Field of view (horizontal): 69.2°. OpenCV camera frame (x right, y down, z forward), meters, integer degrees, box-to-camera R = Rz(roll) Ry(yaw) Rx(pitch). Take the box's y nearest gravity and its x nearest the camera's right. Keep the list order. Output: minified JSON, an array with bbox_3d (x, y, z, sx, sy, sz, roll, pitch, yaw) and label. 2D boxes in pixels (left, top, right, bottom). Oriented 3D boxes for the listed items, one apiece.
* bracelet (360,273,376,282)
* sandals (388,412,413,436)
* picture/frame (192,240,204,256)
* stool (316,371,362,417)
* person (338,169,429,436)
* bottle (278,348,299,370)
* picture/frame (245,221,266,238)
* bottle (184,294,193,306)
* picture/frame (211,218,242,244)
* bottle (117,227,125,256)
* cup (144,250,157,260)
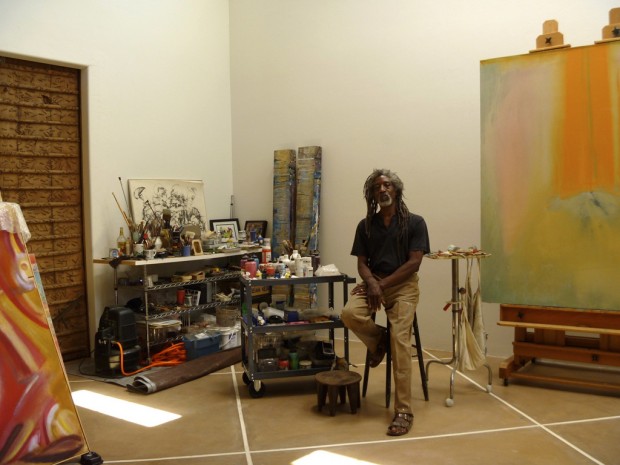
[{"bbox_3d":[0.541,0.421,4.126,0.088,0.032,0.119,6,13,-27],"label":"bracelet"},{"bbox_3d":[0.738,1.543,3.659,0.152,0.118,0.291,2,7,27],"label":"sandals"},{"bbox_3d":[-1.407,0.188,5.635,0.138,0.183,0.063,1,-15,-41],"label":"picture/frame"},{"bbox_3d":[0.252,1.414,4.052,0.403,0.341,0.368,-1,7,3],"label":"stool"},{"bbox_3d":[0.675,0.505,4.031,0.734,2.138,1.033,1,8,14],"label":"person"},{"bbox_3d":[-0.208,1.248,4.445,0.226,0.200,0.136,3,-6,-13],"label":"bottle"},{"bbox_3d":[-0.780,-0.039,6.515,0.272,0.215,0.053,1,-10,18],"label":"picture/frame"},{"bbox_3d":[-1.518,0.850,5.691,0.121,0.170,0.123,0,4,0],"label":"bottle"},{"bbox_3d":[-1.180,-0.021,6.390,0.472,0.310,0.880,-2,6,-11],"label":"picture/frame"},{"bbox_3d":[-2.245,0.095,5.349,0.094,0.303,0.320,-5,8,-23],"label":"bottle"},{"bbox_3d":[-1.858,0.255,5.240,0.077,0.079,0.117,0,-4,12],"label":"cup"}]
